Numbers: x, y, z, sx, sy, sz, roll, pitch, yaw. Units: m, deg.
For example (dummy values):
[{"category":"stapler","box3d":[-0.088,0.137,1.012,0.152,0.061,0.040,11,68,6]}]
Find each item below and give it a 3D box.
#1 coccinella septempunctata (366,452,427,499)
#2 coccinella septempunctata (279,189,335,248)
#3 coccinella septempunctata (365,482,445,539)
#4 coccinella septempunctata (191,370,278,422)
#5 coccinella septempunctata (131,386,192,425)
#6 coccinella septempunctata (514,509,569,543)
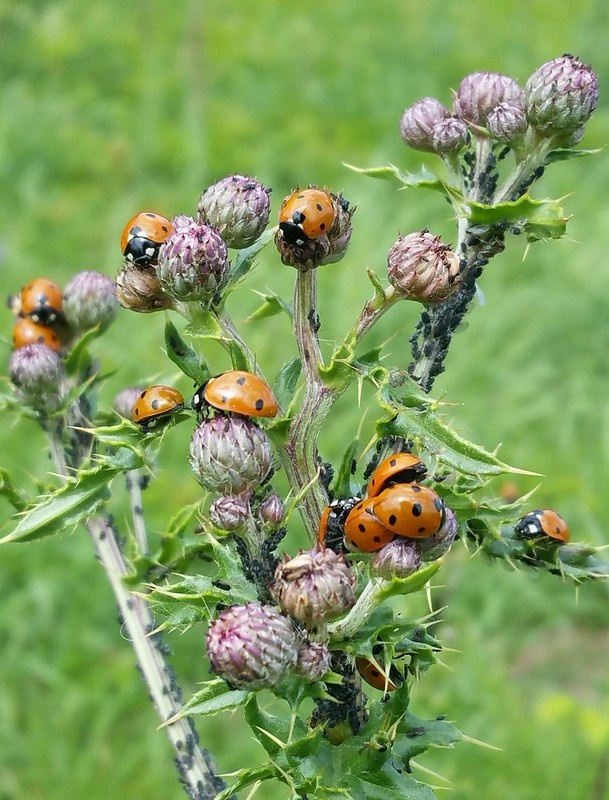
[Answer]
[{"category":"coccinella septempunctata","box3d":[0.160,0.129,1.829,0.100,0.071,0.038,-33,82,18]},{"category":"coccinella septempunctata","box3d":[0.003,-0.342,1.893,0.099,0.104,0.110,-3,72,9]},{"category":"coccinella septempunctata","box3d":[0.178,0.180,1.784,0.149,0.053,0.101,-1,45,-5]},{"category":"coccinella septempunctata","box3d":[-0.126,-0.014,1.845,0.124,0.066,0.087,13,22,8]},{"category":"coccinella septempunctata","box3d":[-0.272,0.019,1.991,0.092,0.059,0.065,-28,24,19]},{"category":"coccinella septempunctata","box3d":[0.481,0.257,2.108,0.092,0.063,0.055,3,90,-15]}]
